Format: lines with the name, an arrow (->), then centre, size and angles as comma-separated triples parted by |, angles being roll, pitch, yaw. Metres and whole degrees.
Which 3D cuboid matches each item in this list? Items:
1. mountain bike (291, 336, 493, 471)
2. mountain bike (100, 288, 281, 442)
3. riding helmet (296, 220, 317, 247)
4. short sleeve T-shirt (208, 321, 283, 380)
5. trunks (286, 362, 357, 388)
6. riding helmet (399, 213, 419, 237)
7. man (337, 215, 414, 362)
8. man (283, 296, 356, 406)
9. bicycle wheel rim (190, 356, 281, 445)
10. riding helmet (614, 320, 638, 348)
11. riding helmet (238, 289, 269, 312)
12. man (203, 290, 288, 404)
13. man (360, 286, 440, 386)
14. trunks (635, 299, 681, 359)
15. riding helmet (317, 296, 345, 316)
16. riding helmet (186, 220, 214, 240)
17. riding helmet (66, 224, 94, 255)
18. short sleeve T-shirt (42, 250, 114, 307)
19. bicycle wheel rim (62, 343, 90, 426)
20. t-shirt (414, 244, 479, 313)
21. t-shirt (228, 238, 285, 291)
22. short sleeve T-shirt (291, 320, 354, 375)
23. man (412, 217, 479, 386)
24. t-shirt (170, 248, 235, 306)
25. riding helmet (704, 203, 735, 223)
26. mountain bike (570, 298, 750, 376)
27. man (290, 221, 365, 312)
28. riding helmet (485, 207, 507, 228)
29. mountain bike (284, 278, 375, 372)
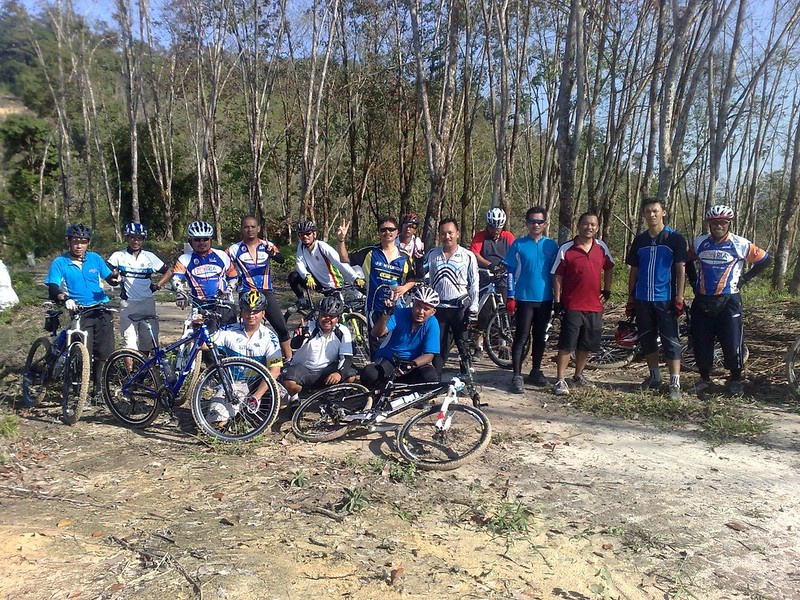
mountain bike -> -0.043, 1.638, 9.977 | 2.573, 1.439, 1.656 | 5, 25, 30
mountain bike -> -2.936, 1.044, 10.861 | 2.952, 2.110, 1.573 | 0, -2, 15
riding helmet -> -1.586, -1.108, 11.952 | 0.301, 0.435, 0.421 | -3, 12, 5
short sleeve T-shirt -> -2.232, 0.757, 10.011 | 0.757, 0.670, 0.279 | 1, 4, -6
trunks -> -1.276, 1.126, 10.356 | 0.684, 0.306, 0.403 | -8, -4, 8
riding helmet -> 0.166, -1.255, 11.850 | 0.247, 0.339, 0.345 | 2, -14, 8
man -> -0.257, -0.039, 11.278 | 1.119, 2.393, 0.732 | 2, 25, 15
man -> -1.162, 0.770, 10.386 | 1.112, 1.658, 1.033 | 4, 5, -11
bicycle wheel rim -> -2.311, 1.394, 9.836 | 1.167, 1.184, 0.653 | -1, 5, -14
riding helmet -> 3.982, 0.607, 12.311 | 0.317, 0.436, 0.453 | 5, -16, 8
riding helmet -> -2.107, 0.024, 10.014 | 0.309, 0.289, 0.455 | -2, 6, -27
man -> -2.283, 0.619, 10.037 | 1.106, 1.566, 1.001 | 2, 24, -16
man -> 0.111, 0.654, 10.136 | 1.070, 1.762, 0.986 | 13, 10, 5
trunks -> 4.108, 0.444, 11.137 | 0.554, 1.251, 0.385 | -21, -22, 39
riding helmet -> -1.019, 0.099, 10.342 | 0.316, 0.292, 0.353 | 0, 5, 0
riding helmet -> -3.087, -1.063, 10.806 | 0.353, 0.256, 0.415 | -1, 5, -18
riding helmet -> -5.014, -0.898, 10.930 | 0.348, 0.537, 0.348 | -2, 6, -26
short sleeve T-shirt -> -5.051, -0.303, 11.147 | 0.977, 0.914, 0.515 | -5, -8, -28
bicycle wheel rim -> -4.897, 1.258, 10.547 | 0.295, 1.219, 0.729 | -5, 7, -45
t-shirt -> 0.729, -0.287, 10.915 | 0.896, 1.178, 0.409 | -1, -21, 2
t-shirt -> -2.459, -0.529, 11.543 | 1.062, 0.973, 0.615 | -2, -4, -11
short sleeve T-shirt -> -1.093, 0.708, 10.593 | 0.898, 0.807, 0.554 | 2, -4, 23
man -> 0.755, 0.132, 11.197 | 1.055, 2.772, 0.869 | 3, 10, 6
t-shirt -> -3.085, -0.371, 11.067 | 1.091, 0.899, 0.527 | -8, 15, -30
riding helmet -> 4.974, -1.343, 10.921 | 0.362, 0.246, 0.609 | 3, 5, 22
mountain bike -> 4.556, 0.838, 12.283 | 2.215, 1.294, 1.472 | -4, -17, 7
man -> -1.329, -0.737, 12.488 | 1.411, 1.970, 1.074 | 7, 20, 10
riding helmet -> 1.669, -1.426, 12.203 | 0.268, 0.361, 0.370 | 3, -15, 2
mountain bike -> -1.419, 0.411, 12.428 | 0.969, 1.307, 1.953 | 0, 3, -38
